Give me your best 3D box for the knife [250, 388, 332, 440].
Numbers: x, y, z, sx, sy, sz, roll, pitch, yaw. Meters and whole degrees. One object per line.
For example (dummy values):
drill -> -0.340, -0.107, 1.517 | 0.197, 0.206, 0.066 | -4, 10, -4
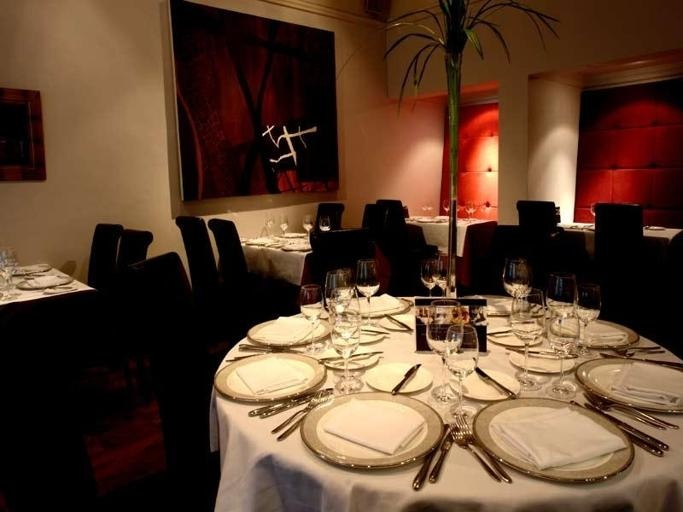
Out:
knife -> -0.155, 0.507, 1.688 | 0.099, 0.042, 0.315 | 15, 20, 40

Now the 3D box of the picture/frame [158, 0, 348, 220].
picture/frame -> -1.015, -1.572, 5.430 | 0.145, 2.507, 2.313 | 3, 7, 41

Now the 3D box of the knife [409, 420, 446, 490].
knife -> 0.250, 0.589, 1.441 | 0.039, 0.021, 0.370 | 3, 15, 22

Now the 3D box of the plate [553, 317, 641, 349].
plate -> 1.007, 0.310, 1.993 | 0.195, 0.054, 0.178 | -10, 12, -43

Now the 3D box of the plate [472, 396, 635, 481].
plate -> 0.635, 0.546, 1.546 | 0.424, 0.061, 0.520 | 0, 10, 23

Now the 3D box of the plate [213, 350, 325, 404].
plate -> -0.253, 0.444, 1.873 | 0.383, 0.061, 0.437 | 3, 7, 25

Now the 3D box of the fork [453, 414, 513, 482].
fork -> 0.403, 0.558, 1.464 | 0.053, 0.049, 0.299 | -6, 21, -10

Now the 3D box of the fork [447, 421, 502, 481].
fork -> 0.387, 0.573, 1.483 | 0.047, 0.047, 0.291 | -16, 29, -4

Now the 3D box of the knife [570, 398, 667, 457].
knife -> 0.845, 0.525, 1.521 | 0.040, 0.015, 0.283 | -38, 28, -12
